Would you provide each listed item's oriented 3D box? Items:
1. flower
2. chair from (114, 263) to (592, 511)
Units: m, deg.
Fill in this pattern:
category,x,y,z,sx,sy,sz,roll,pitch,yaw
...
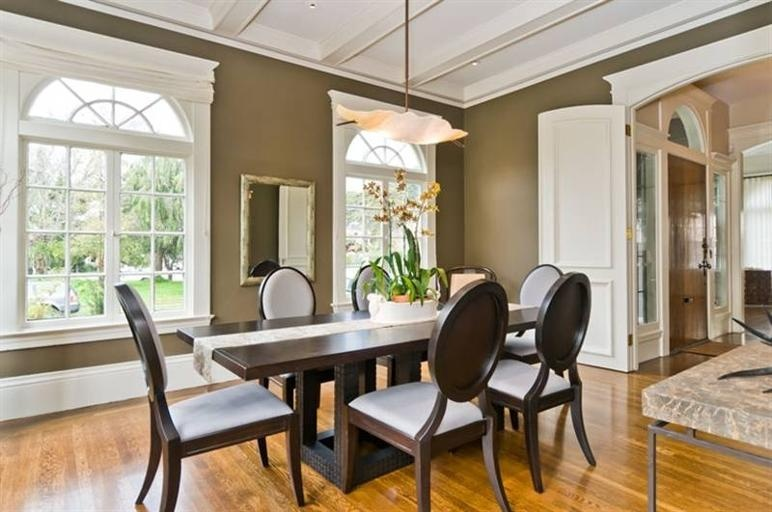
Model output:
category,x,y,z,sx,sy,sz,roll,pitch,yaw
flower,0.186,-0.123,4.455,0.797,1.255,0.716,-10,7,14
chair,0.157,0.994,3.780,2.965,1.613,0.973,-3,2,-16
